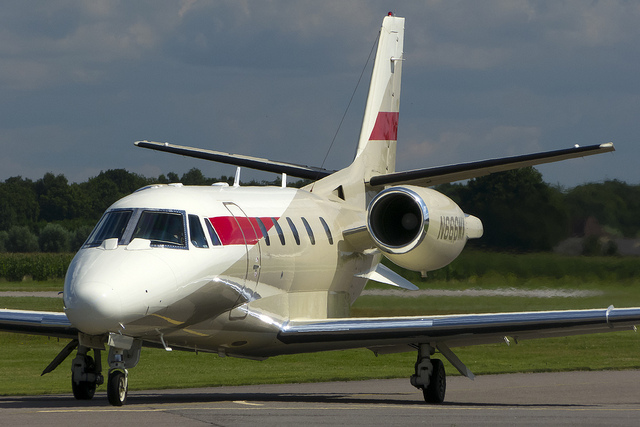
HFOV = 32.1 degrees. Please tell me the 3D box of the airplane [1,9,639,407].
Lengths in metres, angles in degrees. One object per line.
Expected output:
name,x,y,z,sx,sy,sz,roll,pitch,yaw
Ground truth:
airplane,-0.575,0.237,23.455,10.033,7.236,6.454,-2,5,-22
